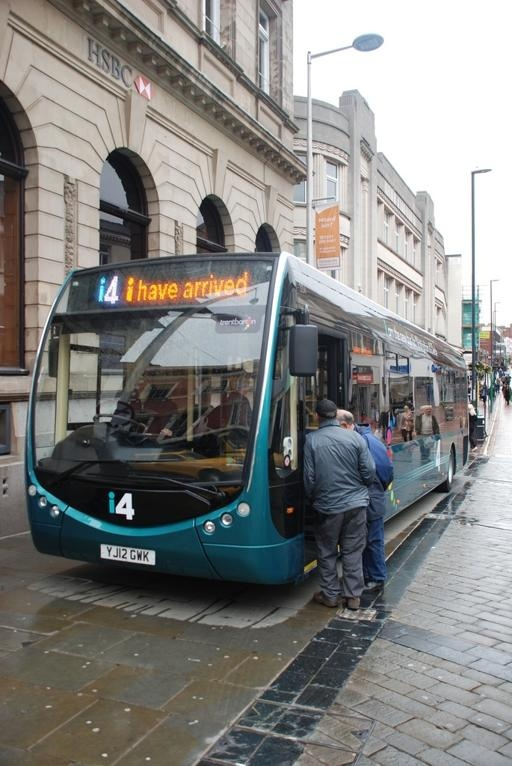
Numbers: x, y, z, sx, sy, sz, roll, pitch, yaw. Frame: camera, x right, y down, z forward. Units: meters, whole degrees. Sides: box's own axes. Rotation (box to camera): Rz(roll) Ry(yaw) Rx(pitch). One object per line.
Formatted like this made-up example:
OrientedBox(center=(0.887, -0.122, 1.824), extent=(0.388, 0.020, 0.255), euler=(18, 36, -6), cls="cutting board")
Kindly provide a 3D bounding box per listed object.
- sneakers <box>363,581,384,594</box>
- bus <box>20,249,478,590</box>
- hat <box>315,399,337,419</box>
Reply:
OrientedBox(center=(1.063, 1.855, 5.133), extent=(0.195, 0.109, 0.074), euler=(14, -15, -40), cls="sneakers")
OrientedBox(center=(0.674, 0.404, 7.403), extent=(1.986, 2.362, 7.080), euler=(0, -4, 27), cls="bus")
OrientedBox(center=(0.595, 0.216, 4.872), extent=(0.118, 0.111, 0.173), euler=(-10, 33, -1), cls="hat")
